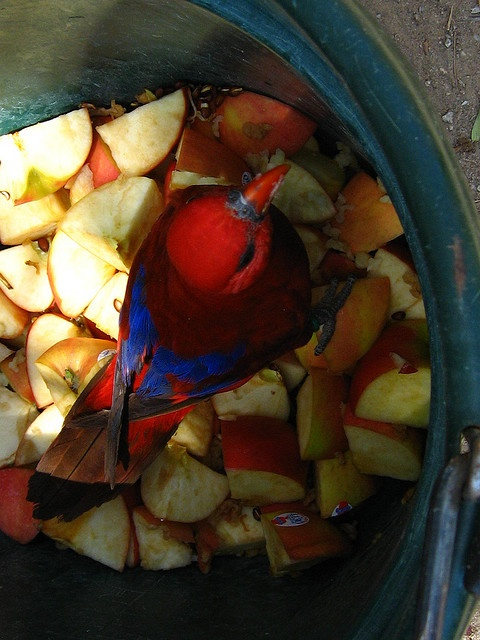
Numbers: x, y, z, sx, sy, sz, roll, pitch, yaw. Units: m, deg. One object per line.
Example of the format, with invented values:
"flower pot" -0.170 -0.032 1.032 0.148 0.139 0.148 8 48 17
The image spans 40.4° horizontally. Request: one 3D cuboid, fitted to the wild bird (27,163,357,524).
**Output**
"wild bird" -0.058 0.048 1.040 0.287 0.368 0.605 41 102 3
